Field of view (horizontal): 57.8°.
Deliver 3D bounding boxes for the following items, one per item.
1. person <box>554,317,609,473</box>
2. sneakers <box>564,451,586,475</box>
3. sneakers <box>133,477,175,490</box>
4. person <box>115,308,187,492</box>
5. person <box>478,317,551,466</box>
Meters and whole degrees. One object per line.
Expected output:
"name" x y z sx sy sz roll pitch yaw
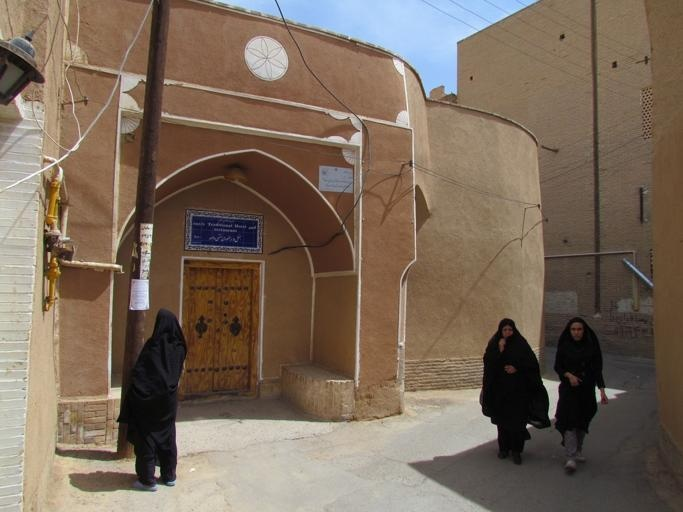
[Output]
"person" 2.749 1.578 7.166 0.552 1.690 0.668 1 2 22
"sneakers" 2.662 2.380 7.072 0.116 0.177 0.399 -33 -26 17
"sneakers" -2.003 2.454 6.650 0.439 0.108 0.192 0 2 -25
"person" -2.031 1.547 6.686 0.675 1.912 0.293 0 2 -21
"person" 2.080 1.614 7.490 0.816 1.661 0.453 1 2 29
